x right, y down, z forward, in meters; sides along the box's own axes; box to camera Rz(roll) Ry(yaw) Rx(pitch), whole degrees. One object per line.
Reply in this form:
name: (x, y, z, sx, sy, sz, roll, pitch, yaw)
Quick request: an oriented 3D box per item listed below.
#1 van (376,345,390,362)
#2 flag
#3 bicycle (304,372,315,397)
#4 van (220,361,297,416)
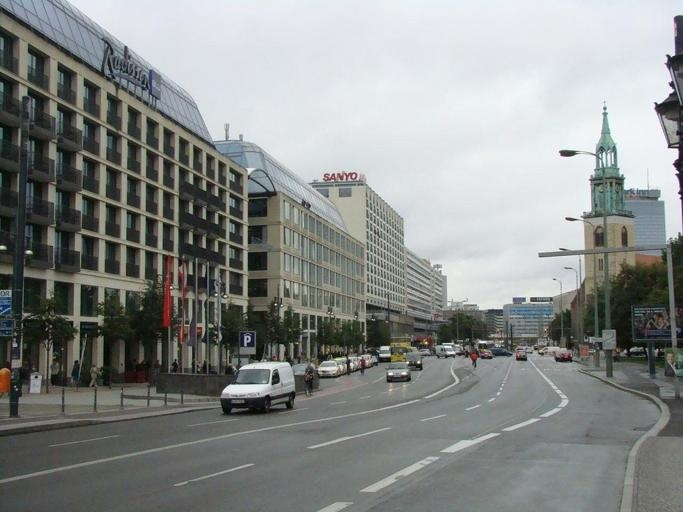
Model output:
van: (5.922, 13.559, 106.777, 1.632, 2.028, 2.200, -3, -12, 1)
flag: (-12.420, 3.671, 63.501, 1.337, 10.367, 6.761, 7, -11, -42)
bicycle: (-2.025, 7.926, 47.719, 0.383, 1.445, 1.045, 0, -12, -11)
van: (-3.871, 6.178, 36.578, 1.830, 2.465, 4.036, -9, -14, 27)
